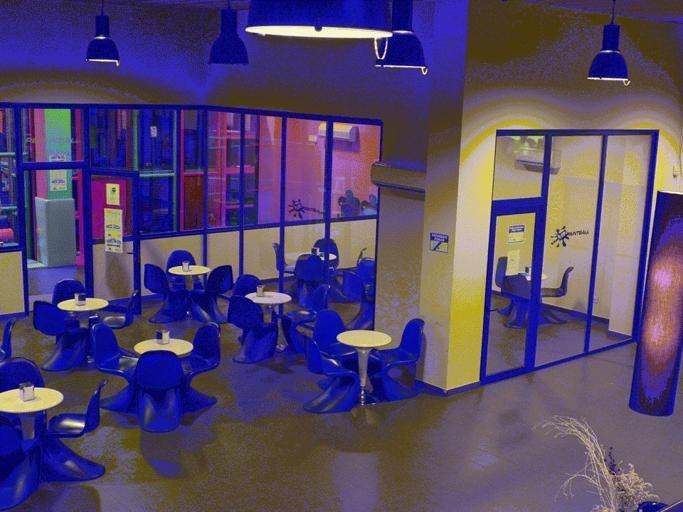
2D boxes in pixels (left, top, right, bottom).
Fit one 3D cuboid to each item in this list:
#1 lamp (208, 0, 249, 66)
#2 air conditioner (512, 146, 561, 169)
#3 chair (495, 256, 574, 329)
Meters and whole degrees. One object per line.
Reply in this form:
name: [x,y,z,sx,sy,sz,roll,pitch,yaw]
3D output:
lamp: [-1.521,-2.936,7.331,0.529,0.696,0.353,4,13,5]
air conditioner: [2.800,-1.381,7.846,1.015,0.339,0.161,-8,17,-41]
chair: [2.640,0.542,8.266,1.057,0.939,1.205,-3,6,-25]
